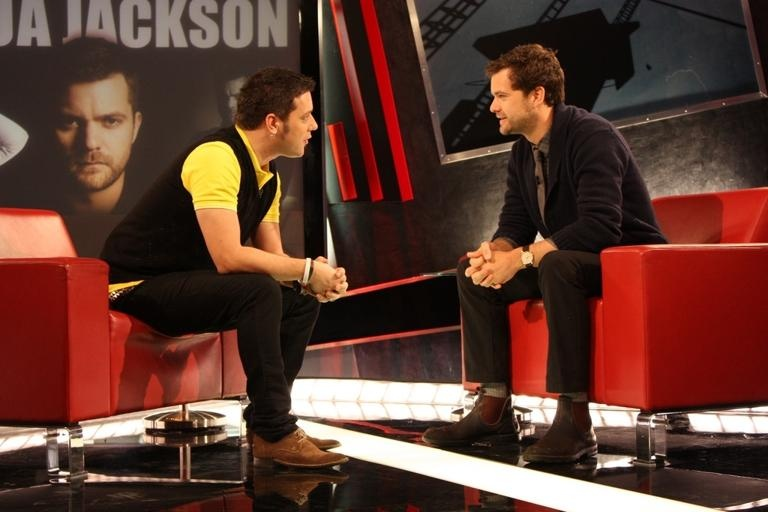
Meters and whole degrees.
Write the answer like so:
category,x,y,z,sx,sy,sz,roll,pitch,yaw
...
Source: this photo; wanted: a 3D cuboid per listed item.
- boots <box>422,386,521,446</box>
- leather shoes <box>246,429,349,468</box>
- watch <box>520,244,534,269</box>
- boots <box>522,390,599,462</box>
category,x,y,z,sx,sy,sz,roll,pitch,yaw
boots,0.345,0.710,3.154,0.468,0.295,0.182,1,-7,-1
leather shoes,-0.340,0.753,2.812,0.258,0.093,0.198,2,-3,-5
watch,0.619,0.004,3.055,0.065,0.076,0.076,-8,-34,17
boots,0.714,0.691,2.850,0.362,0.248,0.155,5,-12,-34
